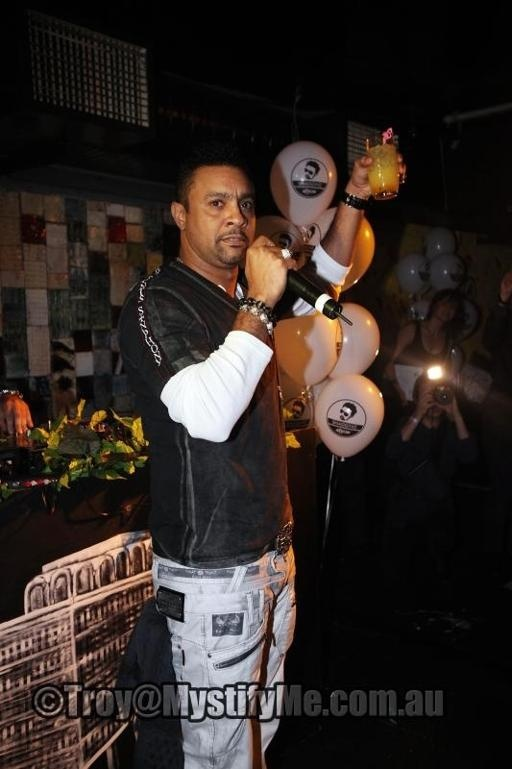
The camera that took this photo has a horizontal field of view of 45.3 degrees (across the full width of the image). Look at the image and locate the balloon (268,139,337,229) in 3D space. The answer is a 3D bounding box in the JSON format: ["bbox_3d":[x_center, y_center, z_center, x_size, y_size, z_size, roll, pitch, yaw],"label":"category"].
[{"bbox_3d":[0.165,-0.900,2.759,0.325,0.410,0.341,-4,29,-3],"label":"balloon"}]

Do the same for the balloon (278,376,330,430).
[{"bbox_3d":[0.228,0.090,2.871,0.132,0.269,0.114,-3,-25,26],"label":"balloon"}]

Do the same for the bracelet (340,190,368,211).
[{"bbox_3d":[0.257,-0.474,1.590,0.068,0.046,0.048,0,1,7],"label":"bracelet"}]

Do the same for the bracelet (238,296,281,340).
[{"bbox_3d":[0.010,-0.120,1.132,0.069,0.024,0.060,48,10,11],"label":"bracelet"}]

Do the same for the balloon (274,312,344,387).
[{"bbox_3d":[0.181,-0.142,2.414,0.243,0.292,0.260,-1,-3,-5],"label":"balloon"}]

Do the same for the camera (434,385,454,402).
[{"bbox_3d":[1.119,0.064,3.661,0.098,0.101,0.078,0,1,16],"label":"camera"}]

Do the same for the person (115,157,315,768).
[{"bbox_3d":[-0.067,0.194,1.265,0.412,1.339,0.499,-1,1,-22],"label":"person"}]

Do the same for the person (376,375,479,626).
[{"bbox_3d":[1.045,0.626,3.754,0.556,1.221,0.380,0,1,19],"label":"person"}]

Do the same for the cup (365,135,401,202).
[{"bbox_3d":[0.306,-0.533,1.481,0.065,0.138,0.075,0,1,30],"label":"cup"}]
